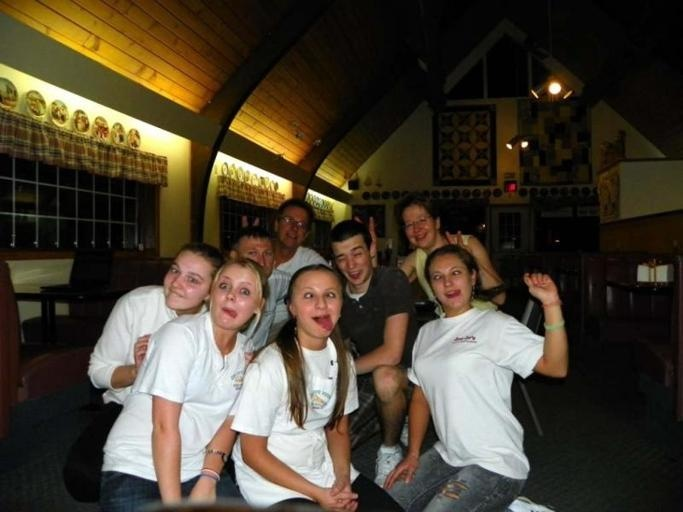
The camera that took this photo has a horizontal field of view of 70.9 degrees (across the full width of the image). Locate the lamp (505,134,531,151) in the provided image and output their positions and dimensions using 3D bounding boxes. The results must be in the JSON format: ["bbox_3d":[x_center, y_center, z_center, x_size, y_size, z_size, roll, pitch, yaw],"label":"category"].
[{"bbox_3d":[4.769,-3.084,12.978,0.462,0.221,0.767,-2,15,8],"label":"lamp"}]

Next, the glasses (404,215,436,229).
[{"bbox_3d":[0.635,-0.265,3.761,0.132,0.046,0.140,-5,-12,15],"label":"glasses"}]

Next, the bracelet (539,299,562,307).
[{"bbox_3d":[1.086,0.244,2.496,0.097,0.036,0.143,-1,1,23],"label":"bracelet"}]

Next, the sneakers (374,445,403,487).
[{"bbox_3d":[0.291,1.345,3.093,0.115,0.159,0.358,-10,-4,16],"label":"sneakers"}]

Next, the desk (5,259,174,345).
[{"bbox_3d":[-2.613,0.504,4.843,1.200,1.301,0.932,0,-6,20],"label":"desk"}]

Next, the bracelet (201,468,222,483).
[{"bbox_3d":[-0.599,1.000,2.212,0.067,0.030,0.065,7,-23,25],"label":"bracelet"}]

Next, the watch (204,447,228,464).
[{"bbox_3d":[-0.583,0.927,2.240,0.097,0.049,0.047,-1,1,-10],"label":"watch"}]
